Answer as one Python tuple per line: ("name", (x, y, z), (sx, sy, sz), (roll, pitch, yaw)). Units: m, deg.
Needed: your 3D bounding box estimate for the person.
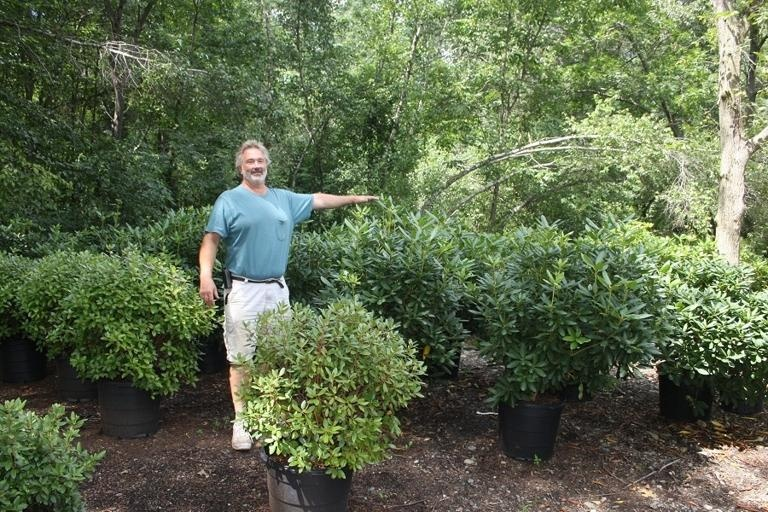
("person", (-1.450, 0.454, 7.298), (1.476, 3.700, 1.026), (-1, 6, -38))
